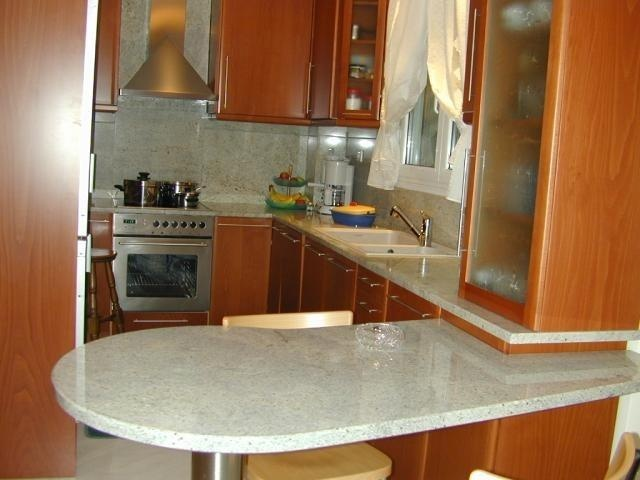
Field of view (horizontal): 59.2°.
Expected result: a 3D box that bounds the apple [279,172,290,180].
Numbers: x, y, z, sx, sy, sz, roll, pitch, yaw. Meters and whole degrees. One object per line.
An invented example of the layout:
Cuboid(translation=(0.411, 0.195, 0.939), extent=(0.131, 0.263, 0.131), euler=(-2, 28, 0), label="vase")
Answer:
Cuboid(translation=(-0.285, -0.546, 4.766), extent=(0.073, 0.039, 0.073), euler=(6, 14, 13), label="apple")

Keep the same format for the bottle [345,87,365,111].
Cuboid(translation=(0.227, -0.946, 3.774), extent=(0.148, 0.161, 0.146), euler=(1, 15, -1), label="bottle")

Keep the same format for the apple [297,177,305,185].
Cuboid(translation=(-0.167, -0.501, 4.760), extent=(0.060, 0.079, 0.060), euler=(-16, 14, -35), label="apple")

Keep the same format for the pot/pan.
Cuboid(translation=(-1.247, -0.363, 4.331), extent=(0.520, 0.179, 0.313), euler=(0, 9, -12), label="pot/pan")

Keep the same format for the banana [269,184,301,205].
Cuboid(translation=(-0.299, -0.368, 4.780), extent=(0.240, 0.130, 0.178), euler=(18, 19, 37), label="banana")

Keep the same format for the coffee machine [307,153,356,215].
Cuboid(translation=(0.072, -0.469, 4.672), extent=(0.484, 0.588, 0.496), euler=(0, 11, -9), label="coffee machine")

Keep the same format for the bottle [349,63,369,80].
Cuboid(translation=(0.259, -1.127, 3.761), extent=(0.112, 0.081, 0.110), euler=(1, 22, 0), label="bottle")

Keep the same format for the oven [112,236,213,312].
Cuboid(translation=(-1.184, 0.214, 4.408), extent=(0.753, 0.668, 0.543), euler=(1, 2, 2), label="oven")
